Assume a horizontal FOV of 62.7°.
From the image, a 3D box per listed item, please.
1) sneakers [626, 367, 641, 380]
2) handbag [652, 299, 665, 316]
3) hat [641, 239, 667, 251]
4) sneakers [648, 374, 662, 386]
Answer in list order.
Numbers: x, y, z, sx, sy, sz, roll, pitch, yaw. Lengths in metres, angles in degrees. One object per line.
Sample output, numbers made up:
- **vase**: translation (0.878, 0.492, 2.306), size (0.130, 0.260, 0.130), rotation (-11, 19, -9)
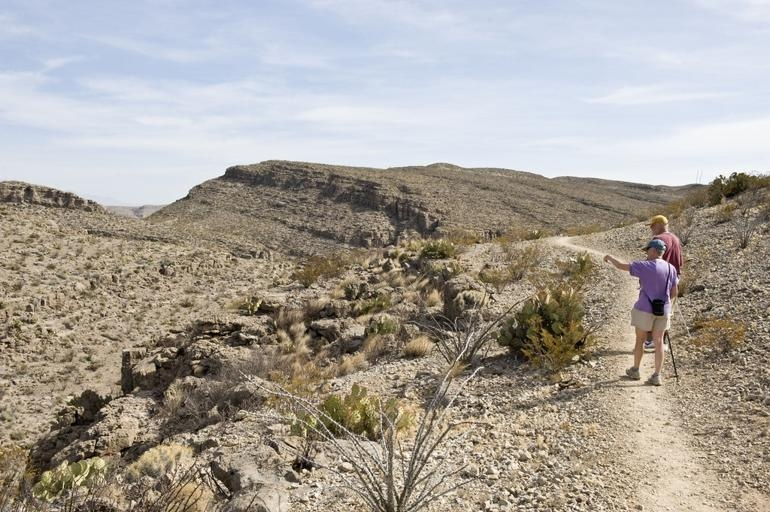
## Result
- **sneakers**: translation (5.609, 2.659, 14.249), size (0.172, 0.197, 0.354), rotation (-5, 15, 7)
- **handbag**: translation (6.021, 1.123, 13.846), size (0.293, 0.354, 0.146), rotation (0, 4, -4)
- **hat**: translation (6.018, -0.254, 14.183), size (0.354, 0.287, 0.543), rotation (-4, 5, -37)
- **sneakers**: translation (6.040, 2.766, 14.094), size (0.158, 0.169, 0.370), rotation (2, 7, 4)
